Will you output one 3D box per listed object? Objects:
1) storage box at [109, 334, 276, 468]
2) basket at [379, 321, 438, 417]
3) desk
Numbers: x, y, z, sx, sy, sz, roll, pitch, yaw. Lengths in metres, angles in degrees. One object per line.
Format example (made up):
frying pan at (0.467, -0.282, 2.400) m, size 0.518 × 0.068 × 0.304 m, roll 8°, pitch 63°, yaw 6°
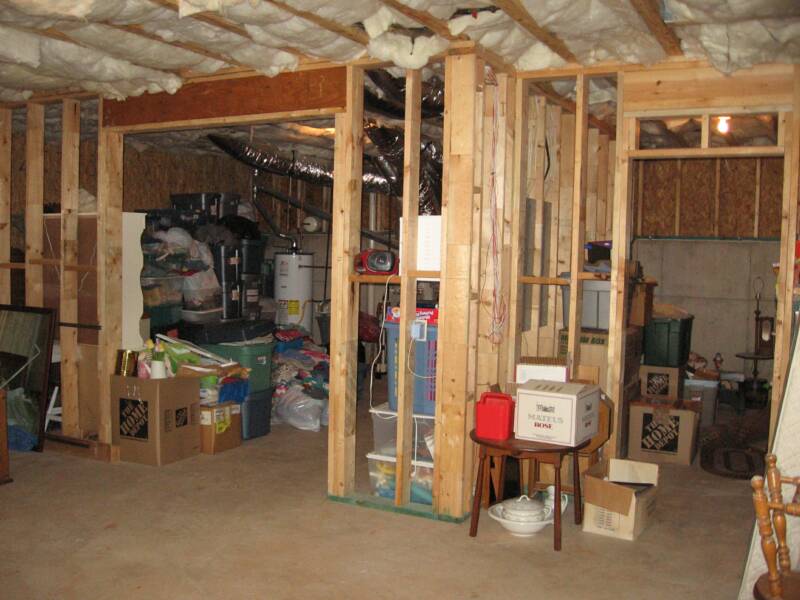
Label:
storage box at (-1.855, 0.884, 6.637) m, size 1.039 × 1.351 × 1.437 m, roll 2°, pitch 1°, yaw 19°
basket at (0.071, 0.503, 5.176) m, size 0.463 × 0.720 × 0.253 m, roll 4°, pitch 9°, yaw 23°
desk at (0.864, 1.271, 4.765) m, size 0.794 × 0.618 × 0.726 m, roll 4°, pitch -1°, yaw 11°
